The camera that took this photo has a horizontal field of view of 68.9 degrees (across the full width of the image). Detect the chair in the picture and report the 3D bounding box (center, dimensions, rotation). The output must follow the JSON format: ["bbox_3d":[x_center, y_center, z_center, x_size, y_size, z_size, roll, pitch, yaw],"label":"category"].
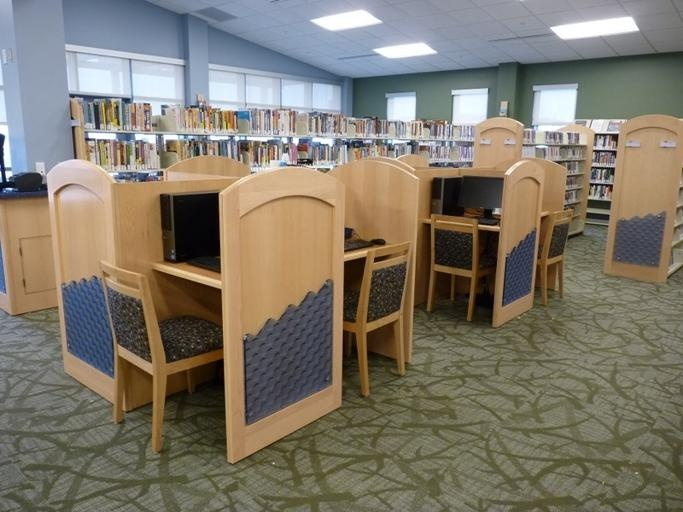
[{"bbox_3d":[-1.276,0.109,3.973,1.973,1.498,2.004,12,16,41],"label":"chair"}]

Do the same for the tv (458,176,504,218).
[{"bbox_3d":[1.416,-0.657,5.122,0.542,0.338,0.364,4,-22,11],"label":"tv"}]
